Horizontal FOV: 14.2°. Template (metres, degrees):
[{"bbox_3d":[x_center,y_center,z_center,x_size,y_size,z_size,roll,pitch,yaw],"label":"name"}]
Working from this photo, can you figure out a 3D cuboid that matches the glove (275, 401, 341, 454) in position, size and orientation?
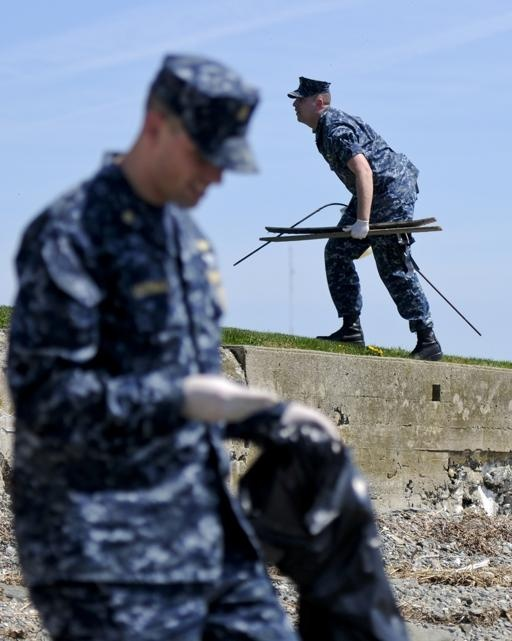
[{"bbox_3d":[0.174,0.348,7.050,0.201,0.081,0.154,25,6,10],"label":"glove"}]
